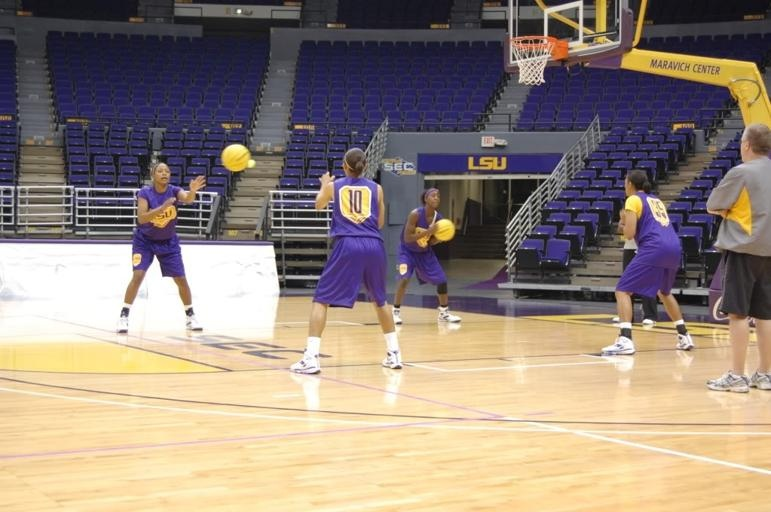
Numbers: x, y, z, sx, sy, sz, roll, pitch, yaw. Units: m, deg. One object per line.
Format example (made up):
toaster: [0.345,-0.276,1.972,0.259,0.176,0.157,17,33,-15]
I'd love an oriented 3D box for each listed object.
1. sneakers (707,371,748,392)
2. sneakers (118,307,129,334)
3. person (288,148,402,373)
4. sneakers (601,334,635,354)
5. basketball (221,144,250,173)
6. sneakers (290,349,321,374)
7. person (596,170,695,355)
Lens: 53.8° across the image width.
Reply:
sneakers: [2.944,1.077,6.521,0.373,0.142,0.137,1,0,14]
sneakers: [-3.149,0.770,9.141,0.113,0.279,0.254,4,6,-14]
person: [-0.314,0.051,7.105,0.969,2.102,0.402,2,7,-29]
sneakers: [2.472,0.972,8.256,0.440,0.204,0.154,0,-2,3]
basketball: [-1.876,-1.242,9.558,0.315,0.302,0.305,4,6,-7]
sneakers: [-0.733,0.979,7.068,0.284,0.213,0.218,4,6,-7]
person: [2.880,0.070,8.410,1.116,2.016,0.687,1,7,-35]
